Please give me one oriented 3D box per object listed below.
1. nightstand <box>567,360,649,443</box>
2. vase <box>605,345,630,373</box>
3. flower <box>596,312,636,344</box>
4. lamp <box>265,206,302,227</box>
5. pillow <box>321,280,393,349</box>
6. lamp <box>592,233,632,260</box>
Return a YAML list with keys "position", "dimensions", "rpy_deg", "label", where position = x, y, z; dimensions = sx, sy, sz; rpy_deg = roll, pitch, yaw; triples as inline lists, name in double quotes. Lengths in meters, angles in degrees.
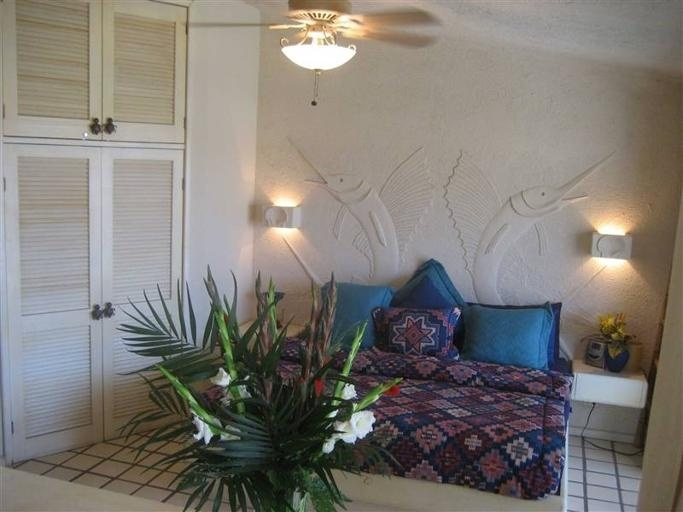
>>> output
- position: [2.000, 1.082, 3.855]
  dimensions: [0.599, 0.610, 0.335]
  rpy_deg: [4, 9, 11]
  label: "nightstand"
- position: [2.045, 0.766, 3.868]
  dimensions: [0.187, 0.211, 0.192]
  rpy_deg: [3, -8, 13]
  label: "vase"
- position: [2.078, 0.548, 3.952]
  dimensions: [0.250, 0.298, 0.216]
  rpy_deg: [-2, 7, -8]
  label: "flower"
- position: [-0.537, -0.352, 4.624]
  dimensions: [0.341, 0.216, 0.186]
  rpy_deg: [1, 1, 22]
  label: "lamp"
- position: [0.123, 0.394, 3.381]
  dimensions: [0.487, 0.490, 0.152]
  rpy_deg: [-1, -16, 8]
  label: "pillow"
- position: [2.032, -0.072, 3.902]
  dimensions: [0.331, 0.220, 0.179]
  rpy_deg: [3, 0, 13]
  label: "lamp"
